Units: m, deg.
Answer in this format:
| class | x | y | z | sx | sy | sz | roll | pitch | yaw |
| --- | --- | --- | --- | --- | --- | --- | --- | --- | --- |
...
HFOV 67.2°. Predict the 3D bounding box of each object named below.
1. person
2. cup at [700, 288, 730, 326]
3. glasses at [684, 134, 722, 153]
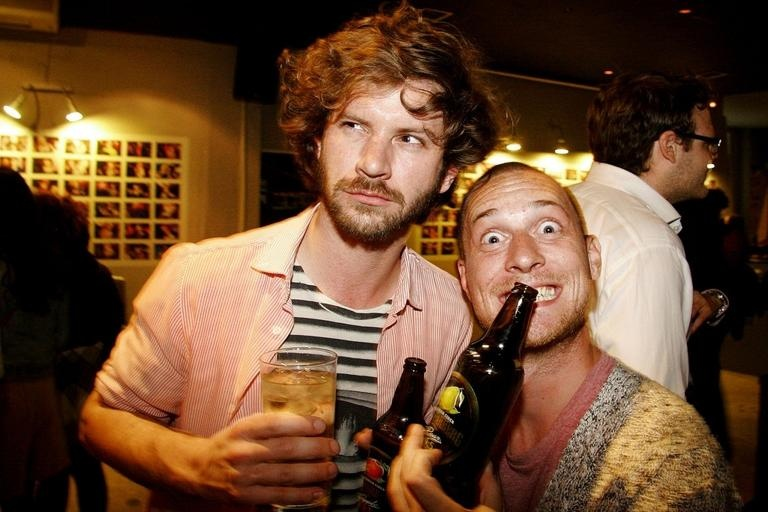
| class | x | y | z | sx | sy | sz | roll | pitch | yaw |
| --- | --- | --- | --- | --- | --- | --- | --- | --- | --- |
| person | -0.269 | -0.124 | 2.718 | 1.570 | 1.960 | 0.977 | 6 | -2 | -35 |
| cup | 2.174 | 0.325 | 3.754 | 0.229 | 0.241 | 0.233 | 3 | -9 | 0 |
| glasses | 2.025 | -0.734 | 3.646 | 0.161 | 0.041 | 0.146 | 12 | 0 | 10 |
